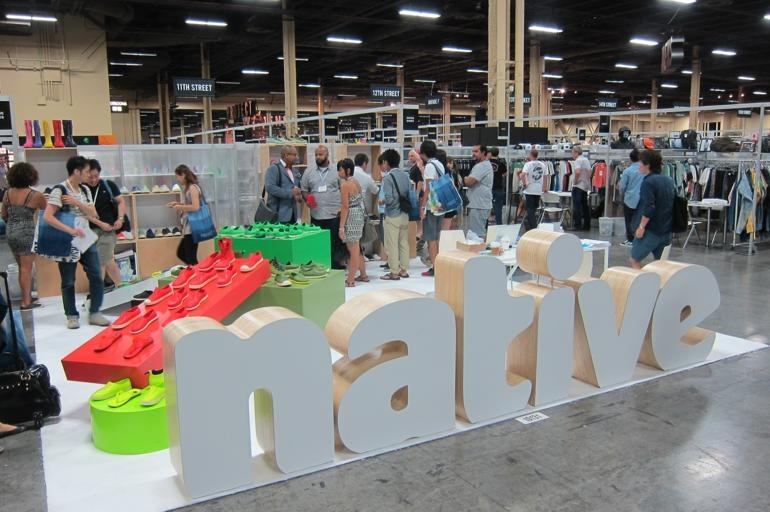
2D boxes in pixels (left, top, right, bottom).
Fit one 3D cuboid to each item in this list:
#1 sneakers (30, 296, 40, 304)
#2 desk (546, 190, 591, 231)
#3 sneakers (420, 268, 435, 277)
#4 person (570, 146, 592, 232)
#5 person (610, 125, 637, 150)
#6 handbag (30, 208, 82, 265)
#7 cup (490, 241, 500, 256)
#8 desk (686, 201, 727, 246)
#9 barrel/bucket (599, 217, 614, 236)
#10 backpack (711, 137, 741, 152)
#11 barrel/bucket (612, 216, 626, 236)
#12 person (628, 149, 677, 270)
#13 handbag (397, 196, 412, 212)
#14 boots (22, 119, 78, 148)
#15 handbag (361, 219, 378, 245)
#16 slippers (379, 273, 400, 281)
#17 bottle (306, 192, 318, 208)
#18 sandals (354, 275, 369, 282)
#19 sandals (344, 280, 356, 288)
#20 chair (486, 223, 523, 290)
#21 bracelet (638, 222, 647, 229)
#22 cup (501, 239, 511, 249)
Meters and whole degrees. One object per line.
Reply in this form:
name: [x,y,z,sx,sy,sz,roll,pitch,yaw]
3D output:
sneakers: [-4.550,0.574,6.742,0.071,0.086,0.218,-3,5,-34]
desk: [4.325,-1.100,12.071,1.095,0.881,0.920,-10,15,-34]
sneakers: [0.650,0.249,7.876,0.212,0.094,0.095,1,3,26]
person: [4.649,-1.615,12.237,0.385,1.982,1.001,4,12,28]
person: [5.760,-2.855,12.481,0.520,0.527,0.981,5,13,30]
handbag: [-3.632,-0.244,5.739,0.568,0.634,0.233,4,-1,6]
cup: [1.285,-0.080,6.005,0.143,0.153,0.126,1,6,0]
desk: [6.585,-0.660,10.614,0.638,0.679,0.687,-12,20,-24]
barrel/bucket: [4.868,-0.660,11.379,0.293,0.394,0.306,-2,11,0]
backpack: [7.753,-2.543,11.883,0.388,0.264,0.544,2,18,26]
barrel/bucket: [5.185,-0.668,11.471,0.340,0.387,0.340,1,8,0]
person: [3.120,-0.531,6.041,0.481,1.412,0.360,-9,13,-35]
handbag: [0.269,-0.736,7.273,0.182,0.229,0.088,-2,27,20]
boots: [-4.967,-1.781,7.563,0.640,0.477,0.567,2,9,23]
handbag: [-0.247,-0.396,8.003,0.306,0.389,0.204,15,22,42]
slippers: [0.064,0.315,7.669,0.279,0.112,0.119,2,4,11]
bottle: [-0.976,-0.800,7.369,0.159,0.171,0.298,0,-7,3]
sandals: [-0.338,0.341,7.651,0.082,0.086,0.213,-5,9,-41]
sandals: [-0.485,0.373,7.304,0.142,0.090,0.241,-2,12,-2]
chair: [1.444,0.098,6.408,0.384,0.900,1.760,1,12,15]
bracelet: [2.975,-0.368,5.954,0.072,0.067,0.053,0,11,10]
cup: [1.463,-0.149,6.258,0.096,0.113,0.111,-7,13,-30]
